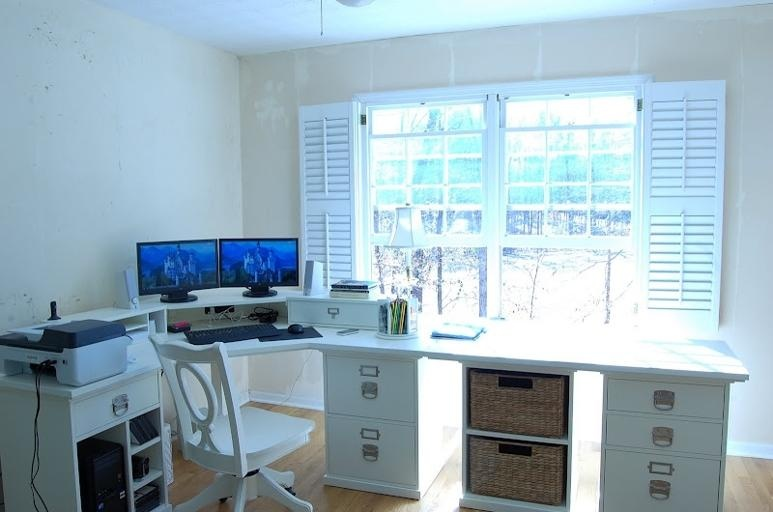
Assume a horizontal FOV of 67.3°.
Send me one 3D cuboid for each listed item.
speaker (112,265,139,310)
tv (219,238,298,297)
[{"bbox_3d":[-1.728,0.224,3.863,0.142,0.257,0.105,-1,4,-18],"label":"speaker"},{"bbox_3d":[-0.933,0.073,4.240,0.432,0.285,0.125,0,-1,0],"label":"tv"}]
